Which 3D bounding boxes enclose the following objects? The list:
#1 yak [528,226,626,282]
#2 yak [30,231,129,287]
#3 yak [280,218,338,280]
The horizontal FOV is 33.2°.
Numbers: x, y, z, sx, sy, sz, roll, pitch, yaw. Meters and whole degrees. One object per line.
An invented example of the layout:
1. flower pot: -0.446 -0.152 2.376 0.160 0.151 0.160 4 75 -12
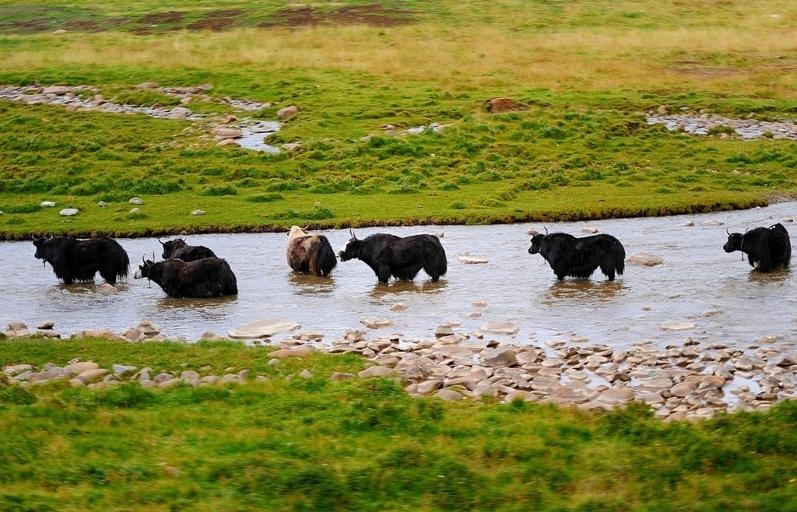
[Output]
1. yak: 8.229 0.016 61.183 4.002 2.130 0.958 0 15 16
2. yak: -14.853 -0.063 62.368 7.806 2.304 2.837 0 -4 12
3. yak: -4.164 -0.353 64.576 2.467 2.271 5.816 -12 10 -20
